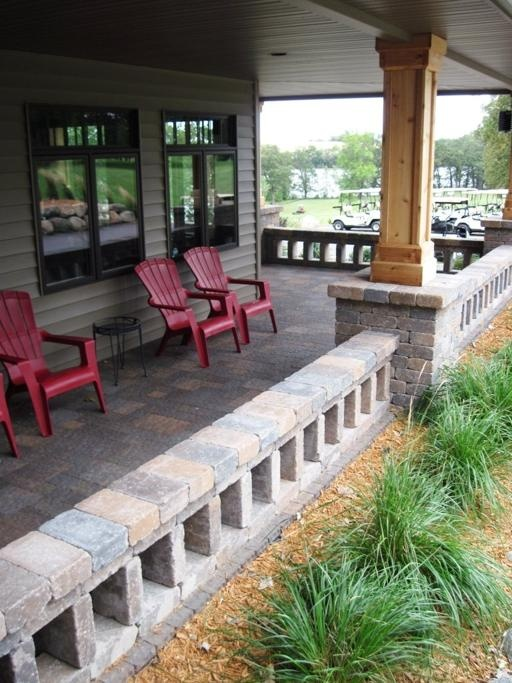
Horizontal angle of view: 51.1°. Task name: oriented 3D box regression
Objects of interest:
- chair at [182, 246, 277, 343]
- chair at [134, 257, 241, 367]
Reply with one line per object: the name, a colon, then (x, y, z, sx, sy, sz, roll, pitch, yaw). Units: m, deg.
chair: (-0.308, -0.545, 6.034, 0.944, 0.812, 0.663, 17, 27, 32)
chair: (-0.669, -0.319, 5.429, 0.991, 0.801, 0.759, 22, 28, 38)
